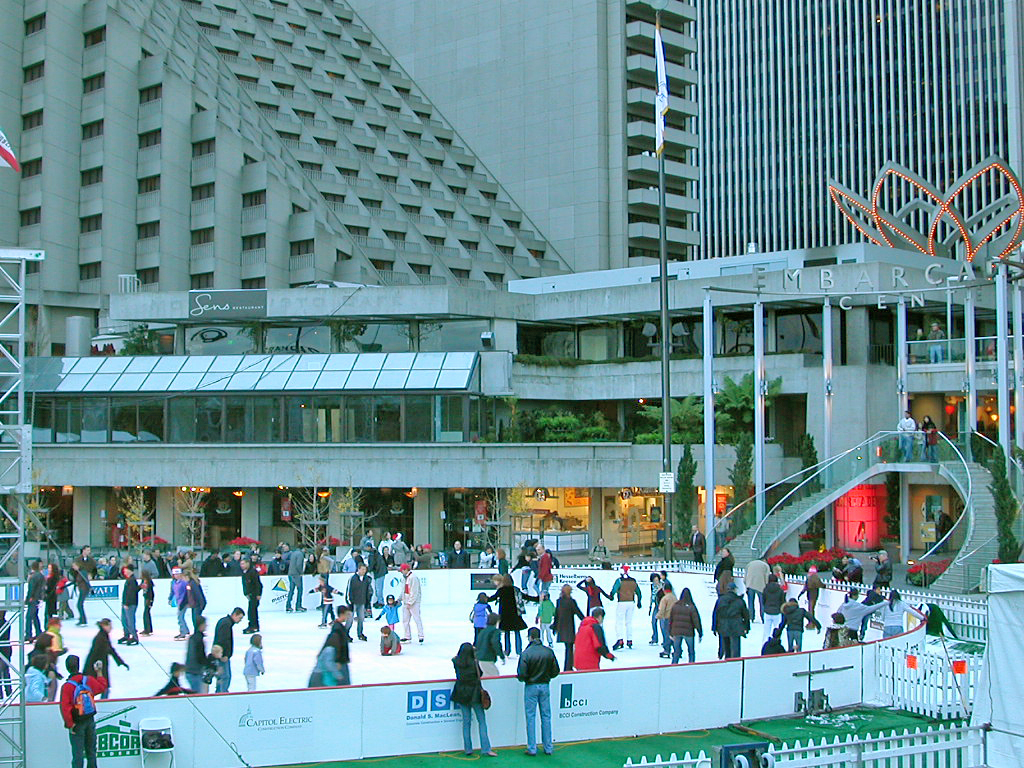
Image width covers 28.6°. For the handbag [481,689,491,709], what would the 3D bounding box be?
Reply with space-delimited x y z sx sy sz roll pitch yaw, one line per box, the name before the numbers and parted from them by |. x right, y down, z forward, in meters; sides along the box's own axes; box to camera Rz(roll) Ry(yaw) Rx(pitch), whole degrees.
handbag | -1.046 13.064 82.503 0.355 0.782 0.681 -5 -8 28
